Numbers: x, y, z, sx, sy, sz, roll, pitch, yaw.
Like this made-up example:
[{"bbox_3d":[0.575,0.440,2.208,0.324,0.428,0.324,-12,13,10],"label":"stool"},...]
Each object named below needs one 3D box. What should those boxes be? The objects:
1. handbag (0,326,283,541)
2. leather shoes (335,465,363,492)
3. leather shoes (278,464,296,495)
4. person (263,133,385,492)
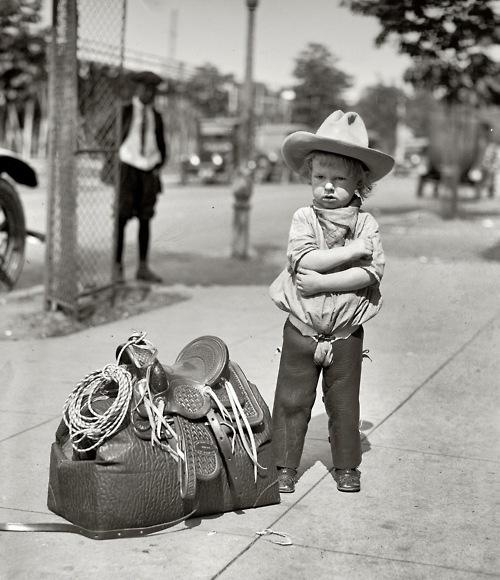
[{"bbox_3d":[-0.373,0.477,2.844,0.940,0.568,0.653,3,-8,-37],"label":"handbag"},{"bbox_3d":[0.353,0.680,3.026,0.065,0.064,0.174,0,-13,2],"label":"leather shoes"},{"bbox_3d":[0.130,0.681,3.020,0.076,0.077,0.196,-1,-10,10],"label":"leather shoes"},{"bbox_3d":[0.282,0.078,3.059,0.441,1.270,0.424,1,11,9],"label":"person"}]
